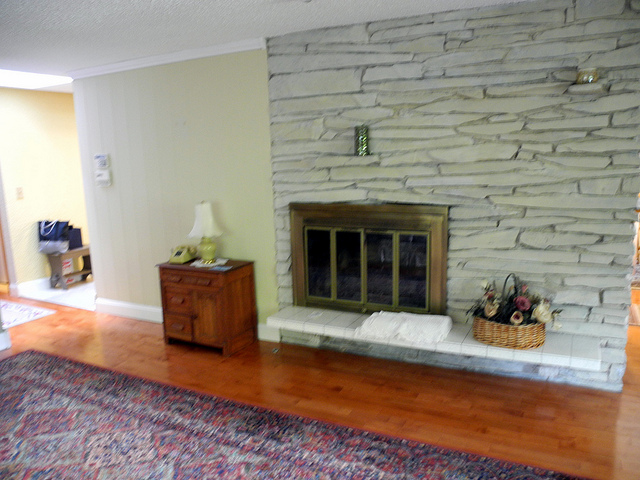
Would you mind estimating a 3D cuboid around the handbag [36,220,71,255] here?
[{"bbox_3d":[-3.568,-0.042,6.449,0.597,0.431,0.296,-5,4,22],"label":"handbag"}]

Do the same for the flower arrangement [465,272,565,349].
[{"bbox_3d":[1.448,0.588,3.608,0.457,0.348,0.571,4,2,-28],"label":"flower arrangement"}]

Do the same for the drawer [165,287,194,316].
[{"bbox_3d":[-1.340,0.582,4.544,0.355,0.185,0.186,4,9,24],"label":"drawer"}]

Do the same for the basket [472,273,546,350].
[{"bbox_3d":[1.423,0.574,3.587,0.449,0.338,0.443,6,10,33],"label":"basket"}]

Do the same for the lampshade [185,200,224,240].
[{"bbox_3d":[-1.059,-0.224,4.704,0.570,0.402,0.336,-3,9,-9],"label":"lampshade"}]

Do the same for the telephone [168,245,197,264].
[{"bbox_3d":[-1.374,0.142,4.737,0.255,0.071,0.201,2,9,10],"label":"telephone"}]
